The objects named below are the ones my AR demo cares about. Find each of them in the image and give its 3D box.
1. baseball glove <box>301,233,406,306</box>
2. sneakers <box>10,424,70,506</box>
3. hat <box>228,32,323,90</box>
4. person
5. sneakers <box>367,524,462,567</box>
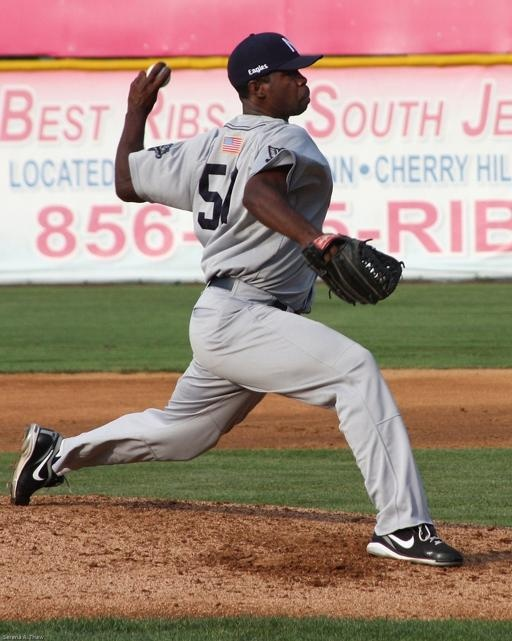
[{"bbox_3d":[0.313,-0.155,3.438,0.304,0.128,0.232,33,37,4],"label":"baseball glove"},{"bbox_3d":[-0.915,0.622,4.406,0.219,0.404,0.141,10,22,-14],"label":"sneakers"},{"bbox_3d":[0.059,-0.937,3.750,0.313,0.144,0.183,-16,10,12],"label":"hat"},{"bbox_3d":[-0.054,-0.098,3.916,0.681,1.902,1.450,-1,2,-44],"label":"person"},{"bbox_3d":[0.559,0.771,3.636,0.388,0.147,0.127,5,0,15],"label":"sneakers"}]
